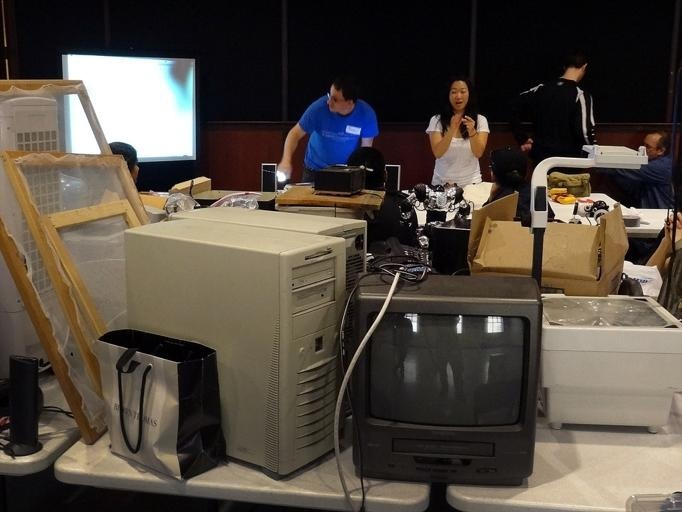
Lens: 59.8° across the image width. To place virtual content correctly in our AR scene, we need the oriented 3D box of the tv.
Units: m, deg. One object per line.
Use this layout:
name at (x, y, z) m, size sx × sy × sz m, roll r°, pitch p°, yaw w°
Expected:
tv at (0.229, 0.218, 1.665) m, size 0.576 × 0.636 × 0.441 m, roll 1°, pitch 8°, yaw 8°

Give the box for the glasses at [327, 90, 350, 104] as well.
glasses at (-0.031, -1.261, 4.717) m, size 0.206 × 0.084 × 0.136 m, roll 5°, pitch 16°, yaw 21°

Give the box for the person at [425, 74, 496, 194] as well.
person at (0.901, -0.962, 4.613) m, size 0.464 × 0.794 × 0.364 m, roll 1°, pitch 14°, yaw 9°

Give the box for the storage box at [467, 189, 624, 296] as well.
storage box at (0.656, -0.078, 1.848) m, size 0.372 × 0.253 × 0.303 m, roll 7°, pitch 12°, yaw 23°

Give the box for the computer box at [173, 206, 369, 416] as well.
computer box at (-0.225, 0.028, 1.794) m, size 0.554 × 0.290 × 0.303 m, roll 7°, pitch 13°, yaw 25°

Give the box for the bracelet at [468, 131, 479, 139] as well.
bracelet at (1.033, -0.938, 4.577) m, size 0.092 × 0.040 × 0.038 m, roll -11°, pitch 18°, yaw -33°

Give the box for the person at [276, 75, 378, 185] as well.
person at (-0.096, -1.034, 4.858) m, size 0.761 × 0.808 × 0.538 m, roll 0°, pitch 14°, yaw 3°

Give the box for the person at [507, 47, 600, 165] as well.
person at (1.780, -1.216, 5.020) m, size 0.750 × 0.919 × 0.468 m, roll 9°, pitch 17°, yaw 34°
